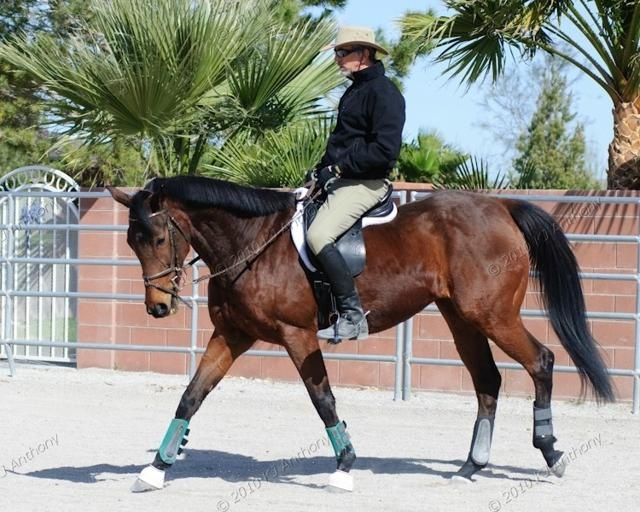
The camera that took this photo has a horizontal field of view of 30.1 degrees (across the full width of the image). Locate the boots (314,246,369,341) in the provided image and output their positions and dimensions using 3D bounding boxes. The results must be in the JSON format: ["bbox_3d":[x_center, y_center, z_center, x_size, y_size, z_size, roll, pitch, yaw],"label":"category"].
[{"bbox_3d":[0.213,0.356,11.475,0.490,0.928,0.280,0,11,0],"label":"boots"}]
